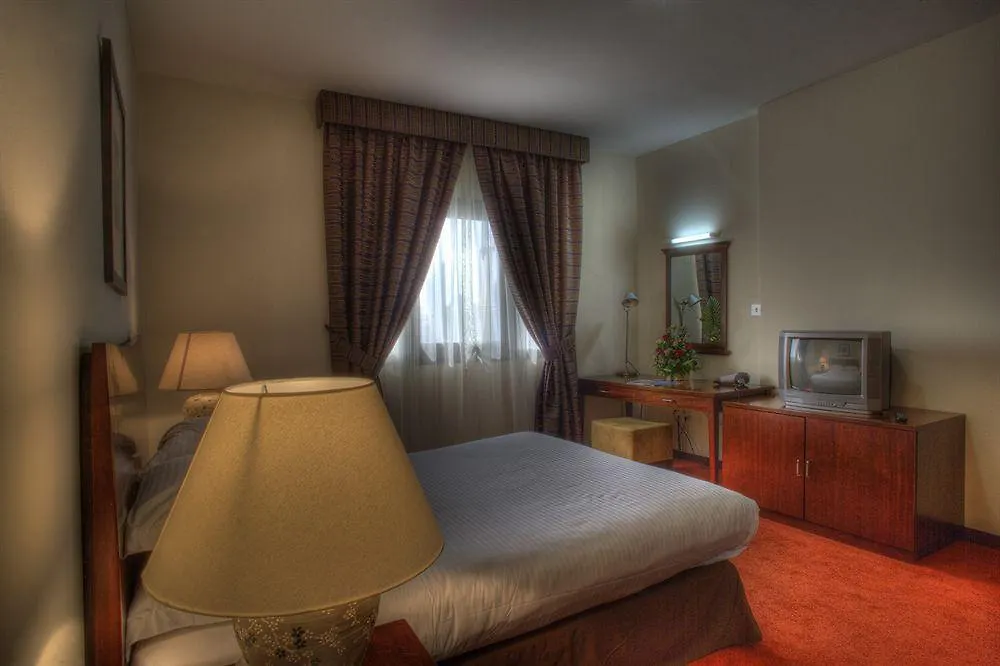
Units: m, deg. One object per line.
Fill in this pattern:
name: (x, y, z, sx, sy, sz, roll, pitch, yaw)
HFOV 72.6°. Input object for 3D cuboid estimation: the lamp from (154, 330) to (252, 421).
lamp: (-1.726, 0.239, 3.871, 0.518, 0.578, 0.515, -2, 4, 10)

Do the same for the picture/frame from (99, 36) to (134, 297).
picture/frame: (-1.855, -0.780, 3.269, 0.104, 1.172, 0.801, -1, 3, -29)

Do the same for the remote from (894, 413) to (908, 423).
remote: (2.337, 0.495, 3.966, 0.059, 0.062, 0.060, -2, -4, 19)

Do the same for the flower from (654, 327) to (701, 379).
flower: (1.416, 0.131, 5.547, 0.364, 0.442, 0.356, -6, 8, -32)
